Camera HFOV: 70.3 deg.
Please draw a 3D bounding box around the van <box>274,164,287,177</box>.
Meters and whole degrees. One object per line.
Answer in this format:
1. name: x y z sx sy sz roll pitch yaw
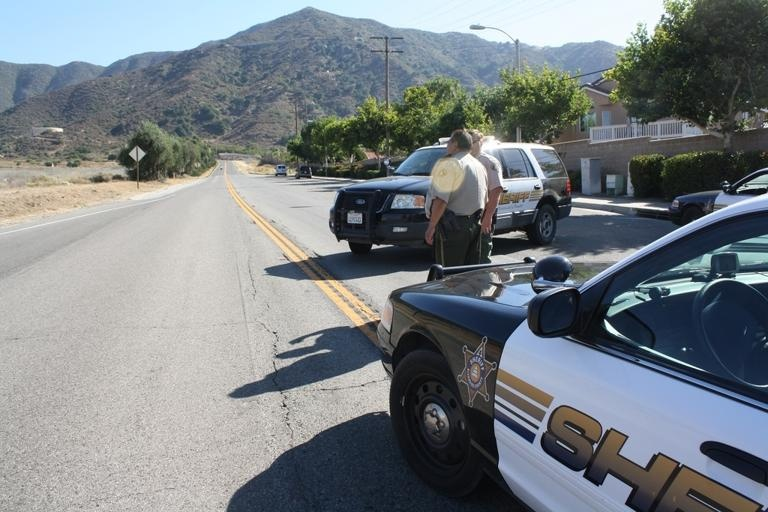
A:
1. van: -15.854 -13.164 84.168 1.651 1.656 3.546 -1 14 -9
